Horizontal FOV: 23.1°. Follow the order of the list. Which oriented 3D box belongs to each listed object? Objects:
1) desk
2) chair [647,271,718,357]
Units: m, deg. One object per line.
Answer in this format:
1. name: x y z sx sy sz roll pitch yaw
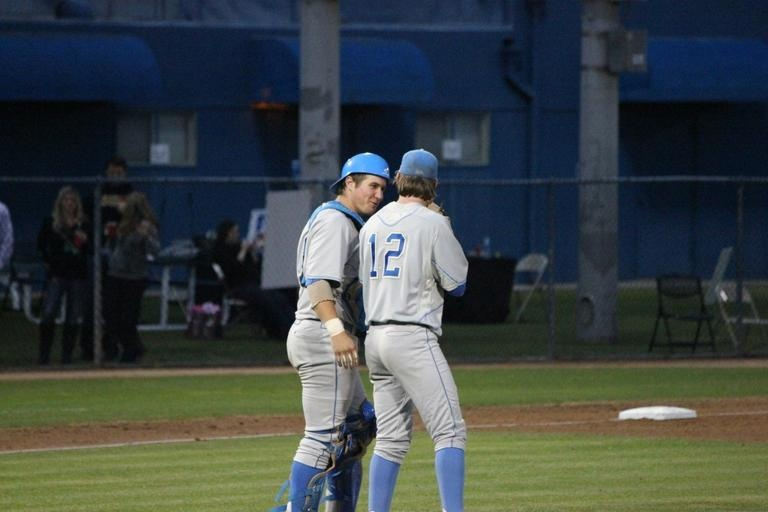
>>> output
1. desk: 2.021 0.716 40.251 1.379 1.356 1.420 1 -1 1
2. chair: 5.972 1.168 37.675 1.305 1.563 2.043 0 0 9
